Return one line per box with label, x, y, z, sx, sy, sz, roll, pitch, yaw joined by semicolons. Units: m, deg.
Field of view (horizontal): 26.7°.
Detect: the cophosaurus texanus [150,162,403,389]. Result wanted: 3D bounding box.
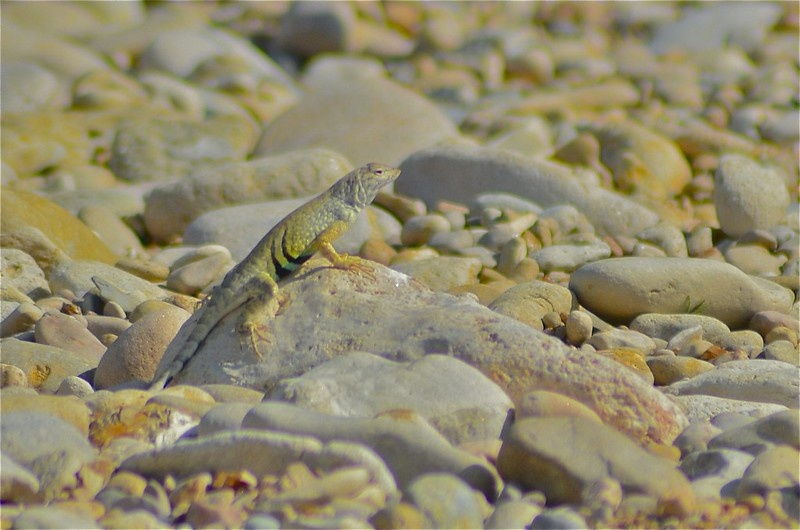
cophosaurus texanus;-1.225;-0.034;18.048;3.542;0.966;1.456;-30;16;3
